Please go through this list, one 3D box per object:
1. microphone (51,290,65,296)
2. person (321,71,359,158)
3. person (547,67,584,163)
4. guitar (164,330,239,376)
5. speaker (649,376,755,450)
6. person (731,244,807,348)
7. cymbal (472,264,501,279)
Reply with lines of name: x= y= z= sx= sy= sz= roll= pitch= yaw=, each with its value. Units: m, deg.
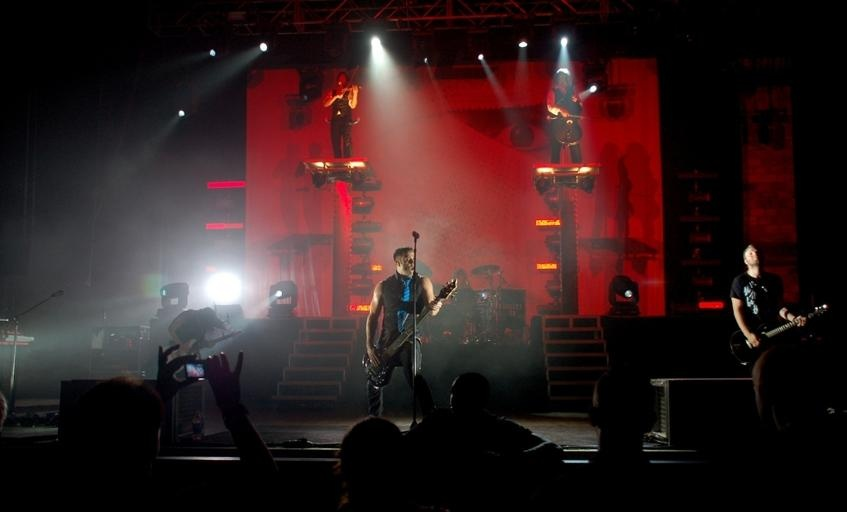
microphone: x=-8.667 y=0.890 z=19.152 sx=0.344 sy=0.107 sz=0.235 roll=-9 pitch=-9 yaw=20
person: x=-2.068 y=-3.464 z=20.072 sx=0.753 sy=2.277 sz=0.785 roll=1 pitch=-11 yaw=-8
person: x=3.472 y=-3.449 z=20.221 sx=0.768 sy=2.570 sz=1.558 roll=-2 pitch=-11 yaw=9
guitar: x=-4.149 y=1.669 z=14.724 sx=1.350 sy=0.428 sz=0.969 roll=-9 pitch=-22 yaw=-7
speaker: x=4.809 y=2.654 z=14.184 sx=2.309 sy=1.401 sz=1.165 roll=0 pitch=-2 yaw=6
person: x=6.342 y=0.804 z=15.476 sx=0.895 sy=1.885 sz=0.383 roll=-3 pitch=-11 yaw=15
cymbal: x=1.548 y=0.346 z=20.531 sx=0.687 sy=0.397 sz=0.954 roll=-2 pitch=-10 yaw=9
